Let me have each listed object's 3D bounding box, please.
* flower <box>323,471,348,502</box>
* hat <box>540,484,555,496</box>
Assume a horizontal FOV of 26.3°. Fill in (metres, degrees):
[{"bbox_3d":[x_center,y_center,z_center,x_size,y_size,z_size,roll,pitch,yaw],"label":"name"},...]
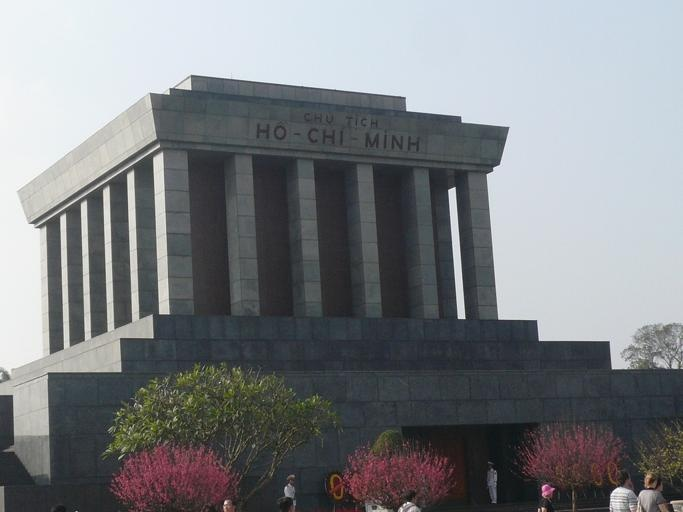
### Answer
[{"bbox_3d":[-0.172,8.030,50.758,0.720,1.072,1.955,-2,-16,0],"label":"flower"},{"bbox_3d":[6.164,7.079,43.719,0.295,0.389,0.584,-3,-16,2],"label":"hat"}]
